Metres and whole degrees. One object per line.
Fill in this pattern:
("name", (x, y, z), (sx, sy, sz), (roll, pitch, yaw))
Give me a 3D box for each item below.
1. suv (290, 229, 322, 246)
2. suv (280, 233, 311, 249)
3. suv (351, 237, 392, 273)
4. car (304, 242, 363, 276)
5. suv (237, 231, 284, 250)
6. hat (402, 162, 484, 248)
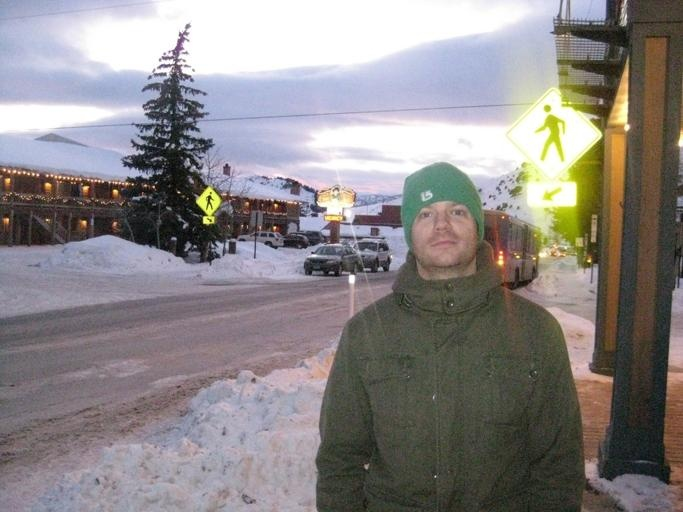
("suv", (-3.258, -1.778, 61.515), (2.691, 1.101, 1.300), (2, 5, -3))
("suv", (-4.072, -1.358, 56.670), (1.965, 0.996, 1.208), (7, 7, 21))
("suv", (1.610, -0.087, 36.285), (1.252, 1.310, 2.605), (-1, -3, 16))
("car", (-0.210, 0.202, 32.664), (1.291, 1.135, 3.000), (-2, -7, 19))
("suv", (-6.827, -1.414, 55.974), (3.418, 1.633, 5.081), (-11, -1, -5))
("hat", (0.661, -0.389, 4.486), (0.531, 0.618, 0.631), (-3, -15, 3))
